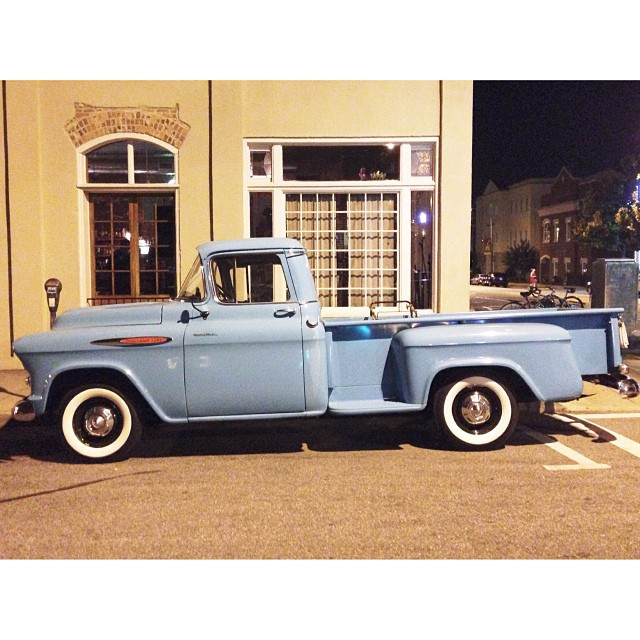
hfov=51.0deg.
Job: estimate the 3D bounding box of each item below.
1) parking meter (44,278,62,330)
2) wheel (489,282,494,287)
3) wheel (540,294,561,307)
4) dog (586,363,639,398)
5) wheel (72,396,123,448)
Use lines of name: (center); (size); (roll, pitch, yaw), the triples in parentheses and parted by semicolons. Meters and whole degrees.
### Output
parking meter: (-2.791, -0.025, 6.979); (0.144, 0.806, 0.109); (1, 11, -15)
wheel: (15.396, -3.133, 60.441); (0.240, 0.296, 0.249); (-9, 21, 4)
wheel: (5.466, -0.419, 15.977); (0.524, 0.241, 0.546); (-1, 5, 0)
dog: (2.822, 0.589, 6.537); (0.192, 0.250, 0.712); (-2, 11, -10)
wheel: (-2.076, 0.959, 6.229); (0.449, 0.470, 0.054); (-1, 4, 1)
